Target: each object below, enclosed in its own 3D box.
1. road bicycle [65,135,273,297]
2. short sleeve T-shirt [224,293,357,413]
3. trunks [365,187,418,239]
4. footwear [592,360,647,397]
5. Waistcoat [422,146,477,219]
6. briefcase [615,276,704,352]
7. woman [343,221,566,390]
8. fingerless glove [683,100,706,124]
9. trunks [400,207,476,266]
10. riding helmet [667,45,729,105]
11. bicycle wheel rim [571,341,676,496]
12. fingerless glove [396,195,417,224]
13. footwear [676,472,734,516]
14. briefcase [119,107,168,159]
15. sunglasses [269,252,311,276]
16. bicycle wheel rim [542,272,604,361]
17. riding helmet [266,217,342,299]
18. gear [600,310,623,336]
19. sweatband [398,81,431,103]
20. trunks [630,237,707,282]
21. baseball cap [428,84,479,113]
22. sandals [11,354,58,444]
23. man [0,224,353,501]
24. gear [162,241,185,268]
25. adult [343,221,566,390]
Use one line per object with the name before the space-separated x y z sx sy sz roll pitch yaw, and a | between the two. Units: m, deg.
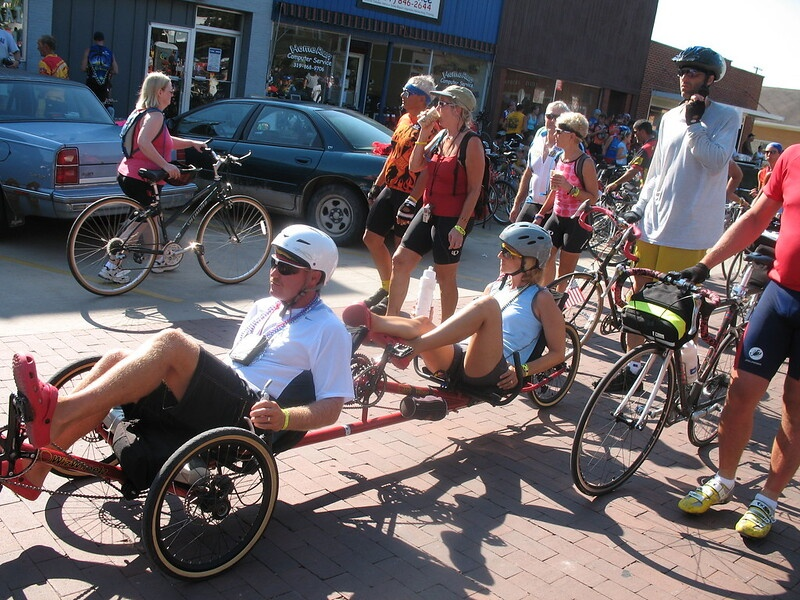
road bicycle | -2.793 -0.859 7.623 3.061 1.972 1.489 -8 22 -33
short sleeve T-shirt | -0.586 0.313 3.382 0.727 0.483 0.379 23 2 39
trunks | -0.083 -0.889 6.459 0.435 0.626 0.343 25 25 9
footwear | 1.517 0.535 4.259 0.426 0.298 0.153 1 13 -9
Waistcoat | 0.420 -1.043 5.755 0.425 0.569 0.173 15 17 21
briefcase | 1.744 0.095 4.133 0.360 0.176 0.518 17 43 38
woman | 0.238 0.041 4.538 1.585 1.251 0.929 6 1 -31
fingerless glove | 2.392 -1.496 5.095 0.179 0.187 0.139 -15 -6 29
trunks | 0.329 -0.610 6.029 0.557 0.699 0.410 36 23 35
riding helmet | 2.347 -1.777 4.926 0.360 0.367 0.470 14 17 19
bicycle wheel rim | 1.601 0.887 4.427 0.232 0.950 0.898 26 57 39
fingerless glove | 0.071 -0.838 6.071 0.181 0.264 0.104 13 -16 30
footwear | 2.013 1.263 4.145 0.465 0.215 0.172 -1 4 -33
briefcase | -2.709 -1.786 6.733 0.568 0.590 0.376 -3 25 -27
sunglasses | -0.609 -0.176 3.321 0.118 0.042 0.155 23 8 26
bicycle wheel rim | 1.598 0.142 5.742 0.501 0.826 0.262 -12 22 -44
riding helmet | -0.529 -0.221 3.413 0.367 0.295 0.286 2 19 -22
gear | 2.137 0.248 6.324 0.222 0.283 0.112 -4 27 -18
sweatband | 0.161 -2.091 6.319 0.210 0.077 0.163 23 18 -21
trunks | 2.406 -0.376 5.648 0.447 0.316 0.369 5 9 -12
baseball cap | 0.479 -1.771 5.615 0.371 0.176 0.264 19 13 -15
sandals | -1.564 0.434 2.674 0.146 0.457 0.180 3 4 26
man | -1.069 0.294 3.407 1.668 1.258 1.176 1 13 -44
gear | -2.515 -0.503 6.868 0.081 0.261 0.282 14 -6 21
adult | 0.343 0.055 4.604 1.585 1.251 0.929 6 1 -31
